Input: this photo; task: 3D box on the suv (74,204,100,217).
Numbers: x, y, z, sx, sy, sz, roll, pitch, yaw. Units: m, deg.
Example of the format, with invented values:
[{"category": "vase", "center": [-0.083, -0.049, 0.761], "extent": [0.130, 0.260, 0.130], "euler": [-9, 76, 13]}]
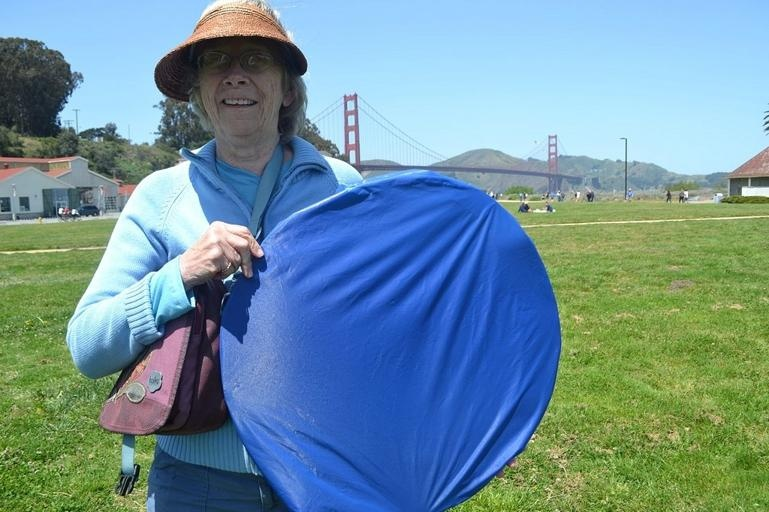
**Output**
[{"category": "suv", "center": [-27.296, -4.290, 58.676], "extent": [1.475, 1.604, 2.558], "euler": [2, 1, 39]}]
